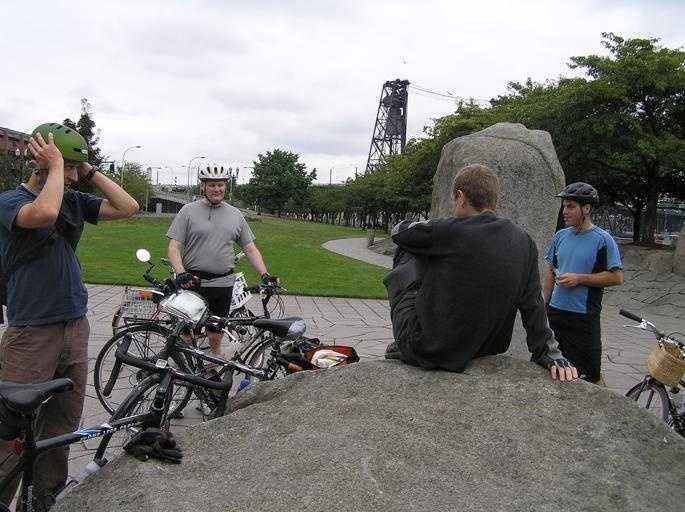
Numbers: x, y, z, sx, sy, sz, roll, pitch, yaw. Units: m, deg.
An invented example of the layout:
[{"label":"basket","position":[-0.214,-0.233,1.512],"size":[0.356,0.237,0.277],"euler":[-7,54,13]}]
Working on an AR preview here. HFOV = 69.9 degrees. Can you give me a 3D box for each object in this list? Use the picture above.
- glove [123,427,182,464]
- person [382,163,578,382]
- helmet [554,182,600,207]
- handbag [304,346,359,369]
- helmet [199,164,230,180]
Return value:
[{"label":"glove","position":[-0.981,0.973,2.563],"size":[0.252,0.128,0.174],"euler":[9,-9,-8]},{"label":"person","position":[0.626,0.096,3.472],"size":[1.024,1.257,1.414],"euler":[1,6,-18]},{"label":"helmet","position":[2.242,-0.580,4.648],"size":[0.317,0.159,0.220],"euler":[4,11,10]},{"label":"handbag","position":[-0.090,0.794,3.826],"size":[0.306,0.116,0.233],"euler":[0,1,2]},{"label":"helmet","position":[-1.339,-0.863,5.096],"size":[0.311,0.158,0.340],"euler":[2,8,-9]}]
